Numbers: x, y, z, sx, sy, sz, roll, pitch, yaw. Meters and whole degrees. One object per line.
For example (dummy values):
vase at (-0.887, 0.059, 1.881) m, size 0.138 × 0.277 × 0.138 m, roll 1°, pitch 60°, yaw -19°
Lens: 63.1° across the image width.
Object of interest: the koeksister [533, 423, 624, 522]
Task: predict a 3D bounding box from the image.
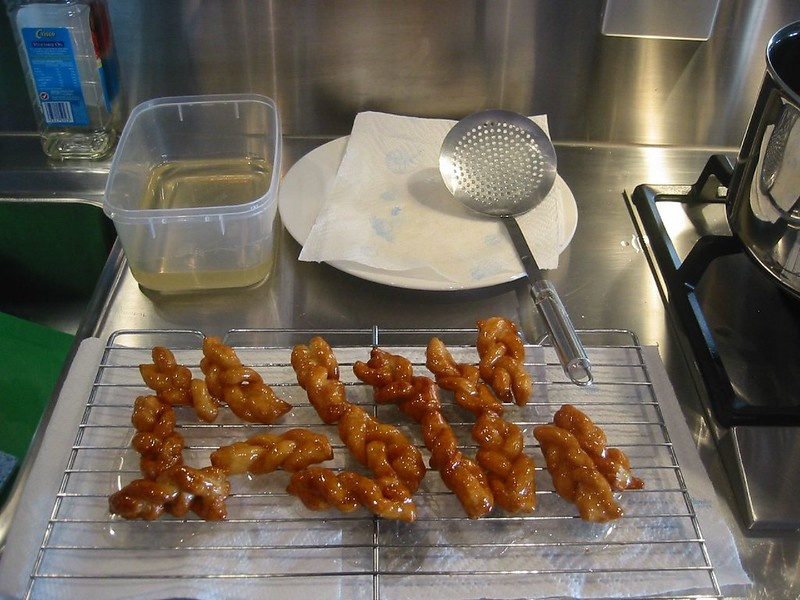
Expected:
koeksister at (0.179, 0.171, 0.667) m, size 0.053 × 0.038 × 0.119 m, roll -12°, pitch 36°, yaw -13°

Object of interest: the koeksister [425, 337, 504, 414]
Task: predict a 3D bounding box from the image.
koeksister at (0.065, 0.090, 0.727) m, size 0.052 × 0.037 × 0.133 m, roll -11°, pitch 38°, yaw -30°
